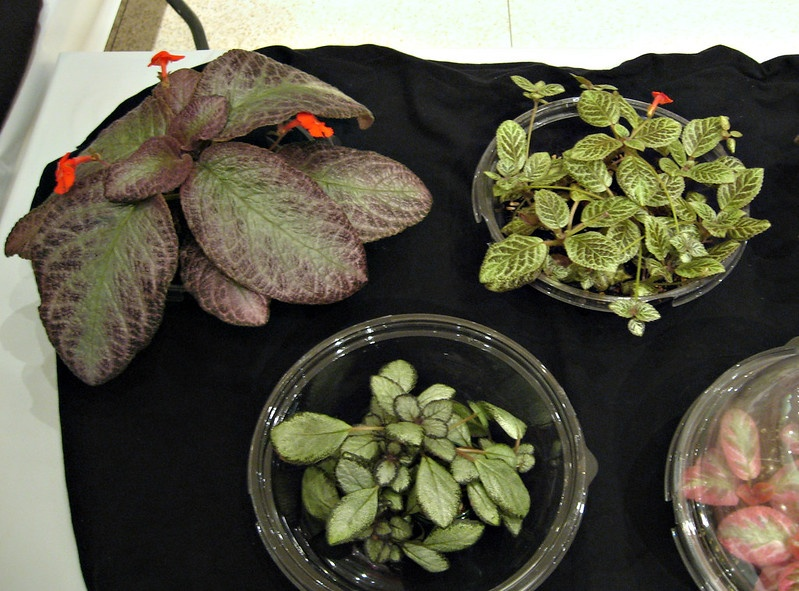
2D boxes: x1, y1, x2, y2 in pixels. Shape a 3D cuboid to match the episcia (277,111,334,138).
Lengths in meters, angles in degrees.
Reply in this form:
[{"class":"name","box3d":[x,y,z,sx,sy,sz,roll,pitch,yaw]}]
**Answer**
[{"class":"episcia","box3d":[-0.173,-0.312,1.250,0.060,0.077,0.044,-23,102,-25]}]
